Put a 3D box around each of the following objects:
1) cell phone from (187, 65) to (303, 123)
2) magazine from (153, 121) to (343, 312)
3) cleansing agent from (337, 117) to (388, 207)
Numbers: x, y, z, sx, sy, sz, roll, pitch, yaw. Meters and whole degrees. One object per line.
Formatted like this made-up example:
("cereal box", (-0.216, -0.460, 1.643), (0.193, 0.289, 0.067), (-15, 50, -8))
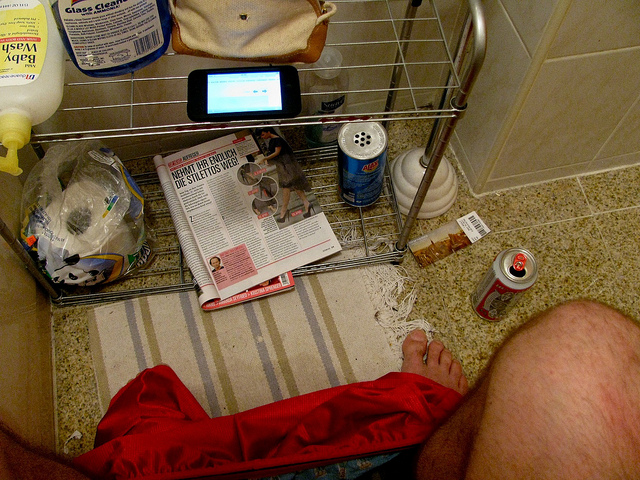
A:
("cell phone", (-0.123, -0.243, 0.818), (0.169, 0.025, 0.103), (-1, 74, -2))
("magazine", (-0.173, -0.041, 1.145), (0.306, 0.084, 0.394), (-19, 67, -12))
("cleansing agent", (0.089, -0.167, 1.117), (0.101, 0.195, 0.107), (-7, 68, -4))
